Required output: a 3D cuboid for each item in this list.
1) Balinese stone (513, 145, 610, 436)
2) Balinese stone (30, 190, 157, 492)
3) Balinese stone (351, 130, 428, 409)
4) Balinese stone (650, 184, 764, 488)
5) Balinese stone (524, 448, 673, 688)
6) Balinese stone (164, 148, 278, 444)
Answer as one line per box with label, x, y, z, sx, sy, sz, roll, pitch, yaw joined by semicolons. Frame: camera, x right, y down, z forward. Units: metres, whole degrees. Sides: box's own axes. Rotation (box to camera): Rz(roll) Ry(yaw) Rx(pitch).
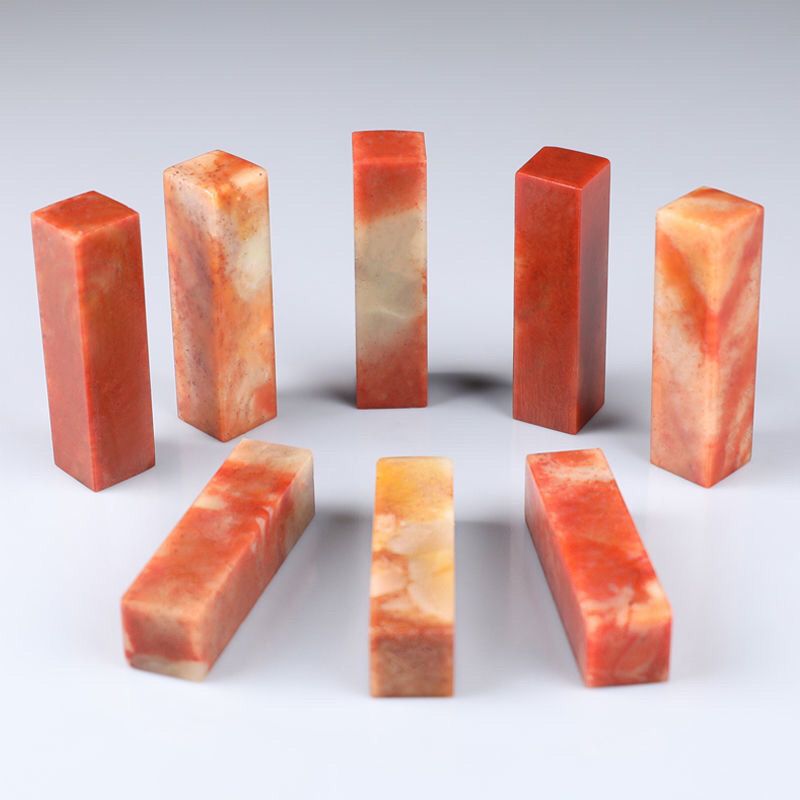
Balinese stone;0.260;-0.175;1.575;0.140;0.460;0.219;7;19;21
Balinese stone;-0.454;-0.081;1.444;0.151;0.442;0.209;-13;21;-35
Balinese stone;-0.015;-0.181;1.584;0.117;0.443;0.106;-1;17;-3
Balinese stone;0.453;-0.085;1.429;0.161;0.442;0.213;7;19;22
Balinese stone;0.239;0.201;1.214;0.099;0.116;0.329;-6;32;-5
Balinese stone;-0.290;-0.152;1.537;0.167;0.462;0.184;-3;17;-9
